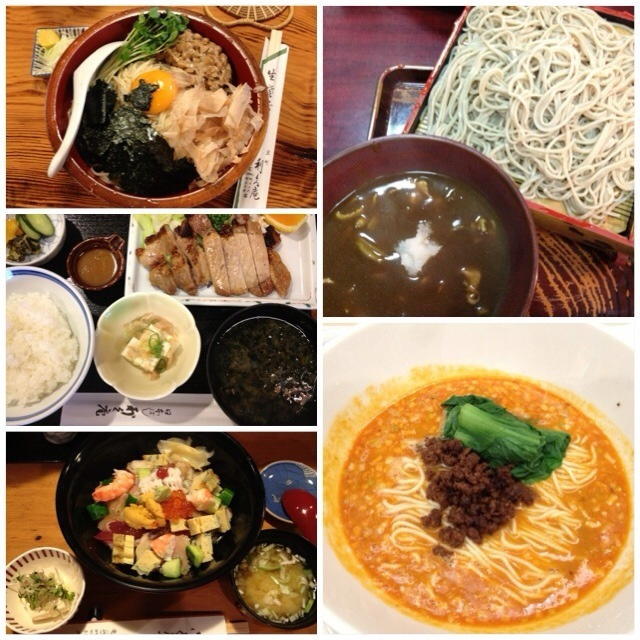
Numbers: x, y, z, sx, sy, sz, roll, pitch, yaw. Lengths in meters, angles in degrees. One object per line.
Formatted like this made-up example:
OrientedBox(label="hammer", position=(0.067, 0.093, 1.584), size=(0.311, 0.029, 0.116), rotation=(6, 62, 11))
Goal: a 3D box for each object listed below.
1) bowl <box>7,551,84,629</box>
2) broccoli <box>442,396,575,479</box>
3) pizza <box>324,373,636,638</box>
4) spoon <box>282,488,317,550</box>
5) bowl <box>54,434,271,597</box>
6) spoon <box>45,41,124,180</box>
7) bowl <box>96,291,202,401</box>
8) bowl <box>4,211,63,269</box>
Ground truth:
OrientedBox(label="bowl", position=(-0.826, 0.809, 1.651), size=(0.234, 0.071, 0.207), rotation=(8, 62, -1))
OrientedBox(label="broccoli", position=(0.585, 0.367, 1.750), size=(0.360, 0.115, 0.239), rotation=(12, 66, 14))
OrientedBox(label="pizza", position=(0.492, 0.543, 1.696), size=(0.985, 0.212, 0.746), rotation=(8, 62, -2))
OrientedBox(label="spoon", position=(-0.041, 0.634, 1.768), size=(0.104, 0.043, 0.181), rotation=(-22, 83, -39))
OrientedBox(label="bowl", position=(-0.482, 0.577, 1.700), size=(0.616, 0.212, 0.463), rotation=(3, 62, -4))
OrientedBox(label="spoon", position=(-0.734, -0.600, 1.674), size=(0.097, 0.480, 0.061), rotation=(11, 64, -26))
OrientedBox(label="bowl", position=(-0.547, 0.084, 1.744), size=(0.325, 0.140, 0.321), rotation=(2, 62, -4))
OrientedBox(label="bowl", position=(-0.939, -0.273, 1.774), size=(0.178, 0.149, 0.168), rotation=(2, 63, -4))
